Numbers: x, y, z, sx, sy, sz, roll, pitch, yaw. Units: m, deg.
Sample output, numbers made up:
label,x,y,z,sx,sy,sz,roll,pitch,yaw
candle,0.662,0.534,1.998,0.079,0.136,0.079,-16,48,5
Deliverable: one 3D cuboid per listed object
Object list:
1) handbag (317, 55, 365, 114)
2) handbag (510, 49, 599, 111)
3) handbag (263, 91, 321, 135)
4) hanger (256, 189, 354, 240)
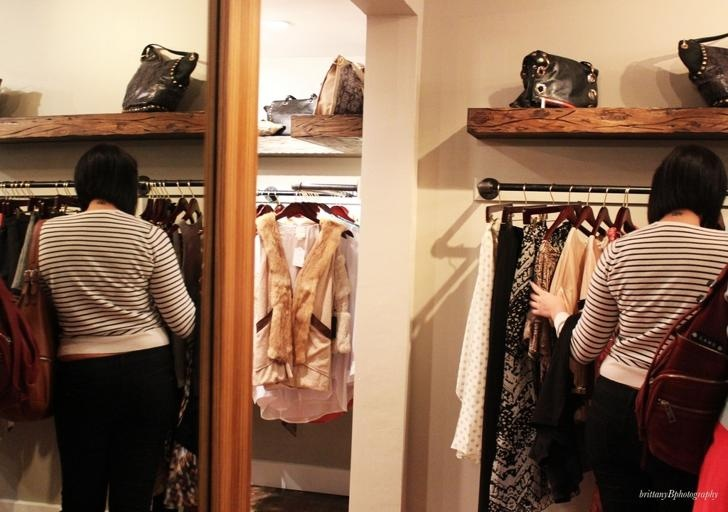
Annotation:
label,x,y,z,sx,sy,sz,roll,pitch,yaw
handbag,-0.123,-0.824,2.713,0.249,0.298,0.132,3,6,7
handbag,0.812,-0.731,2.398,0.322,0.226,0.238,-1,7,-6
handbag,-0.432,-0.831,3.296,0.196,0.235,0.343,-3,8,-38
hanger,-0.310,-0.253,3.217,0.427,0.185,0.338,4,4,20
